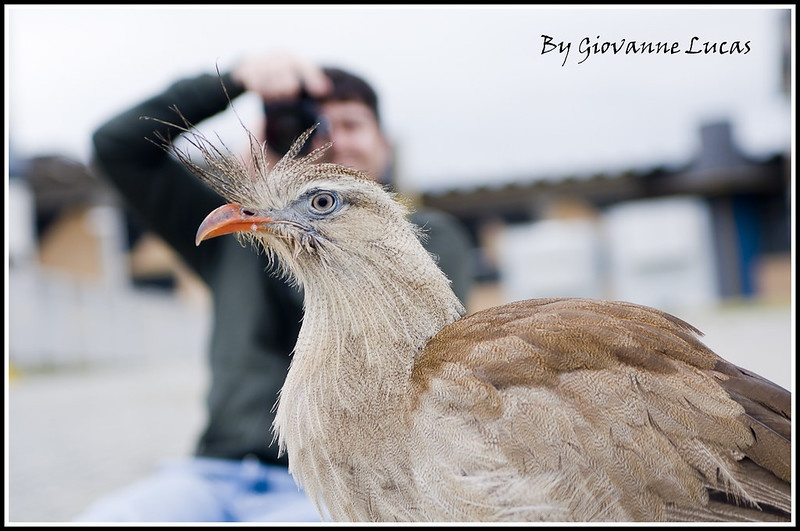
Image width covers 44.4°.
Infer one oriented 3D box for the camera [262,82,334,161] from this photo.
[{"bbox_3d":[-0.389,-0.513,3.536,0.266,0.272,0.086,-10,7,8],"label":"camera"}]
